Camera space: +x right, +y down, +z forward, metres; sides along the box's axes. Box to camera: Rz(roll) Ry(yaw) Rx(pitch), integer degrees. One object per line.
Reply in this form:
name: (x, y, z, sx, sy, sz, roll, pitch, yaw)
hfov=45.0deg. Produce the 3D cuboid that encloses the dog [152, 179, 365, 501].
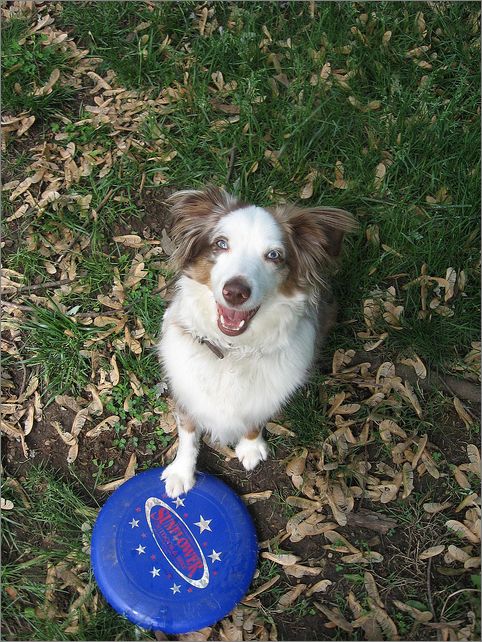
dog: (0.056, 0.010, 3.799, 1.224, 1.856, 1.538, 8, 51, 6)
